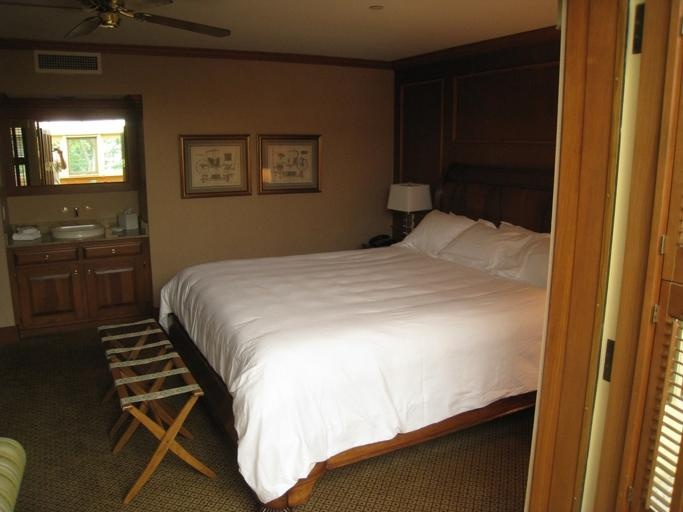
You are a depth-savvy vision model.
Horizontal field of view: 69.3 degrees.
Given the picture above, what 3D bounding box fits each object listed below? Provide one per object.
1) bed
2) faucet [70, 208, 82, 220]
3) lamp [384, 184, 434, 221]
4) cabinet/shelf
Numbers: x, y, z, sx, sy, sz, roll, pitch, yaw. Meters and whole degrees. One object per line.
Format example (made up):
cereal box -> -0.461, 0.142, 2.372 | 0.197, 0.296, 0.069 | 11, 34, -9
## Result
bed -> 0.254, 0.520, 4.555 | 3.218, 1.469, 2.836 | -9, 14, -29
faucet -> -3.244, -0.522, 6.097 | 0.087, 0.149, 0.028 | -10, 15, -34
lamp -> 0.872, -0.654, 6.273 | 0.422, 0.448, 0.665 | -9, 32, -35
cabinet/shelf -> -3.000, 0.351, 5.574 | 0.966, 0.784, 0.381 | -4, 7, -30
